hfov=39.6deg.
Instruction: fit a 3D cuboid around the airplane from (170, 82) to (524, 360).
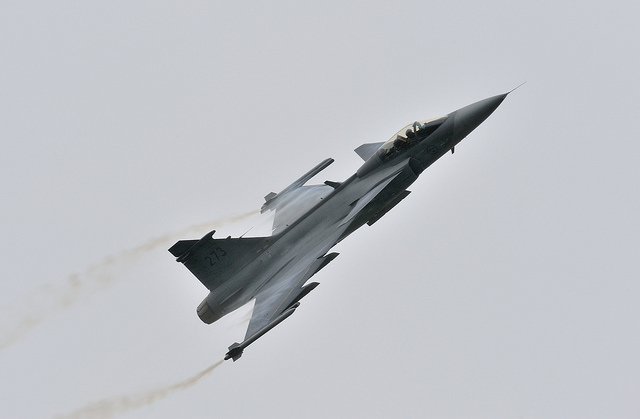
[{"bbox_3d":[0.394,0.269,32.341,12.063,7.866,3.491,-33,-54,11],"label":"airplane"}]
